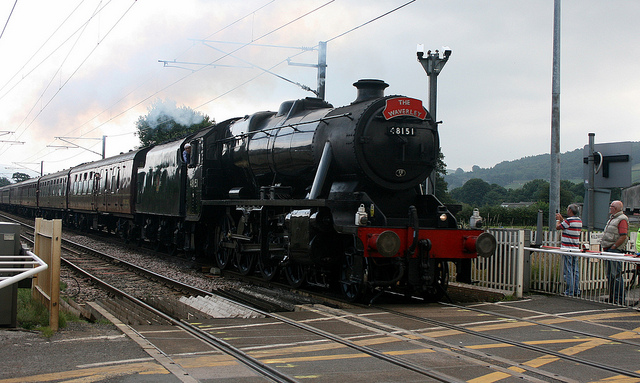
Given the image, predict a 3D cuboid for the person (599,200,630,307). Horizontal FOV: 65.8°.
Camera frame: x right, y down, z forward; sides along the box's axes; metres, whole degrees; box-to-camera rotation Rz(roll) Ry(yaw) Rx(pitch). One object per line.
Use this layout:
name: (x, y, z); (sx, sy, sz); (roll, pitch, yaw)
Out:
person: (6.790, 1.389, 11.488); (0.580, 2.360, 1.534); (0, -1, 30)

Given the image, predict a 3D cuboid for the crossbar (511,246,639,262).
crossbar: (5.563, 1.374, 10.949); (0.957, 0.156, 2.331); (1, -1, -25)

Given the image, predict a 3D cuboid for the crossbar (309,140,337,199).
crossbar: (0.062, -0.546, 11.584); (0.283, 1.400, 0.690); (0, -1, 44)

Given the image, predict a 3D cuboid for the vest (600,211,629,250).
vest: (6.903, 0.902, 11.677); (0.282, 0.880, 0.528); (1, -1, -26)

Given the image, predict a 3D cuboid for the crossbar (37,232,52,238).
crossbar: (-5.434, 0.840, 9.717); (0.035, 0.046, 1.109); (1, -1, -38)
